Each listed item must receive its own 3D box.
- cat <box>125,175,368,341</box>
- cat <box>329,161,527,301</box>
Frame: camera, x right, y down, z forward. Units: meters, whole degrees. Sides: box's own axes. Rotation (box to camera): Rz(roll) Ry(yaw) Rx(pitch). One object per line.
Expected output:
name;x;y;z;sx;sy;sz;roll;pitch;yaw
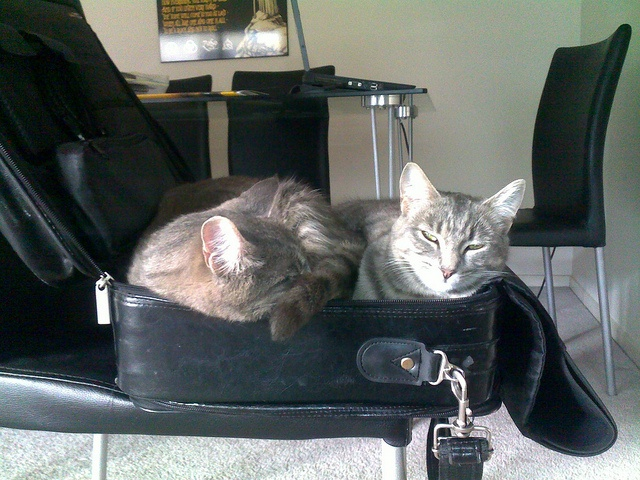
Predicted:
cat;-0.092;0.057;0.934;0.264;0.109;0.301;13;-19;-34
cat;0.154;-0.006;0.893;0.295;0.177;0.169;1;-2;45
